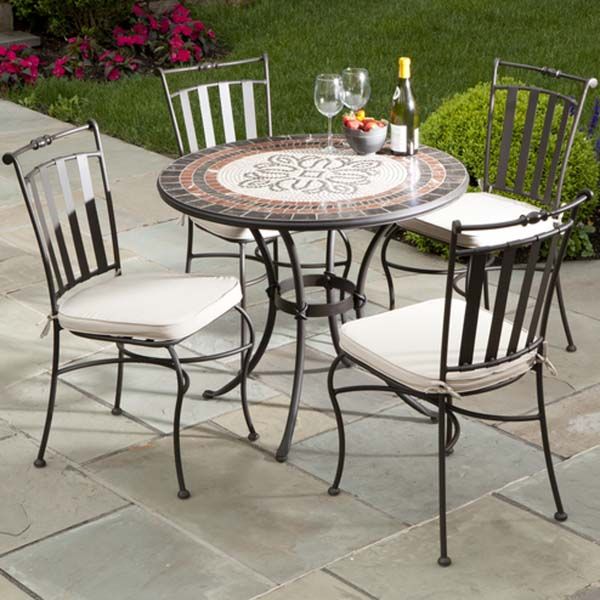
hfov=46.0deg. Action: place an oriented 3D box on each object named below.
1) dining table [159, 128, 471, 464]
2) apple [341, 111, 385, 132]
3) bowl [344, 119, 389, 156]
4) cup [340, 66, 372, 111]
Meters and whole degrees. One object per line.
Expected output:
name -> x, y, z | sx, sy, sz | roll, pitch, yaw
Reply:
dining table -> 0.039, -0.110, 2.813 | 1.339, 0.808, 1.258 | 13, 27, 24
apple -> 0.236, -0.661, 2.636 | 0.152, 0.060, 0.137 | 2, 7, 8
bowl -> 0.245, -0.575, 2.546 | 0.143, 0.073, 0.121 | -2, 18, -3
cup -> 0.199, -0.774, 2.601 | 0.098, 0.147, 0.050 | -1, 34, 2
